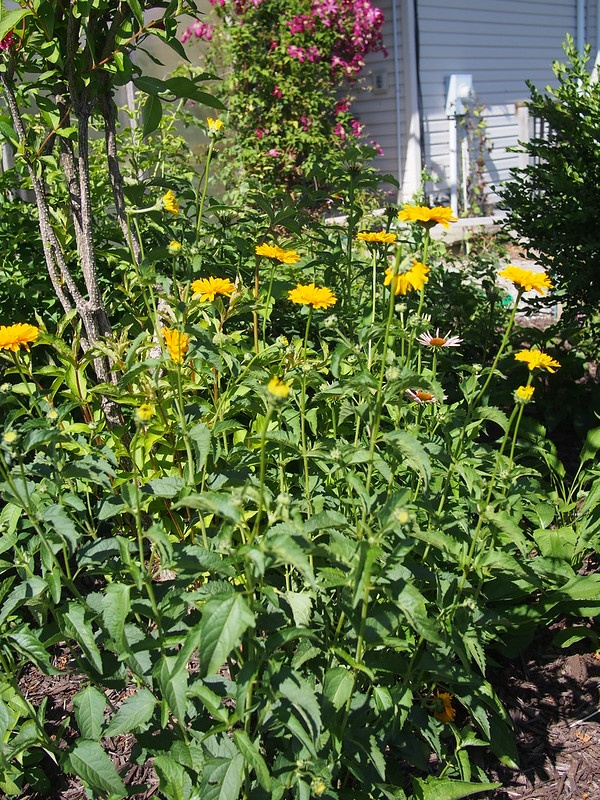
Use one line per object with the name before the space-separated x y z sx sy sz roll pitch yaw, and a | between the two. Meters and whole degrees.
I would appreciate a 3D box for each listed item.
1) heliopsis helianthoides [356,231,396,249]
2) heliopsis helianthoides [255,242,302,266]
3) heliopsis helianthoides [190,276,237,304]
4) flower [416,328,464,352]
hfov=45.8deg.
heliopsis helianthoides | 0.198 -0.466 2.042 0.140 0.039 0.138 8 11 20
heliopsis helianthoides | -0.048 -0.407 2.010 0.126 0.034 0.119 4 17 -32
heliopsis helianthoides | -0.223 -0.313 1.889 0.100 0.031 0.095 3 24 6
flower | 0.538 -0.229 2.725 0.215 0.052 0.195 -4 17 -31
